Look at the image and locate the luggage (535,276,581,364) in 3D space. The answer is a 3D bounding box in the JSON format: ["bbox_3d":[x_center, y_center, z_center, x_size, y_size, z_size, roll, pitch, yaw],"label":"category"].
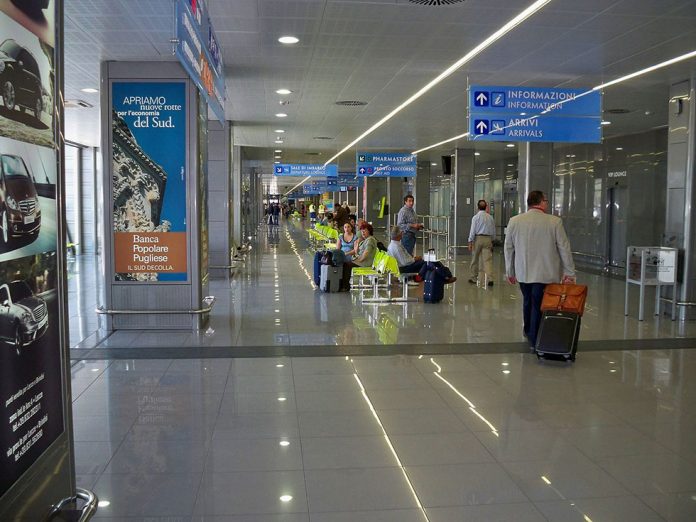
[{"bbox_3d":[2.505,0.718,6.070,0.483,0.883,0.661,3,7,26],"label":"luggage"}]

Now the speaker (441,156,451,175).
[{"bbox_3d":[4.318,-4.277,22.607,0.337,0.747,0.963,2,7,19],"label":"speaker"}]

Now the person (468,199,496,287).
[{"bbox_3d":[3.099,-0.436,11.943,0.569,1.940,1.136,2,6,15],"label":"person"}]

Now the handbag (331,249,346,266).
[{"bbox_3d":[-0.197,-0.096,11.119,0.254,0.327,0.311,2,-10,-14],"label":"handbag"}]

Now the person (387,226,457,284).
[{"bbox_3d":[1.615,-0.143,10.395,1.640,1.252,0.751,-1,3,-8],"label":"person"}]

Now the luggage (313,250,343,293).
[{"bbox_3d":[-0.452,0.159,11.317,0.573,0.875,0.931,-3,7,-31],"label":"luggage"}]

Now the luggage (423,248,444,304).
[{"bbox_3d":[1.657,0.282,9.963,0.364,1.099,0.421,-8,-13,32],"label":"luggage"}]
